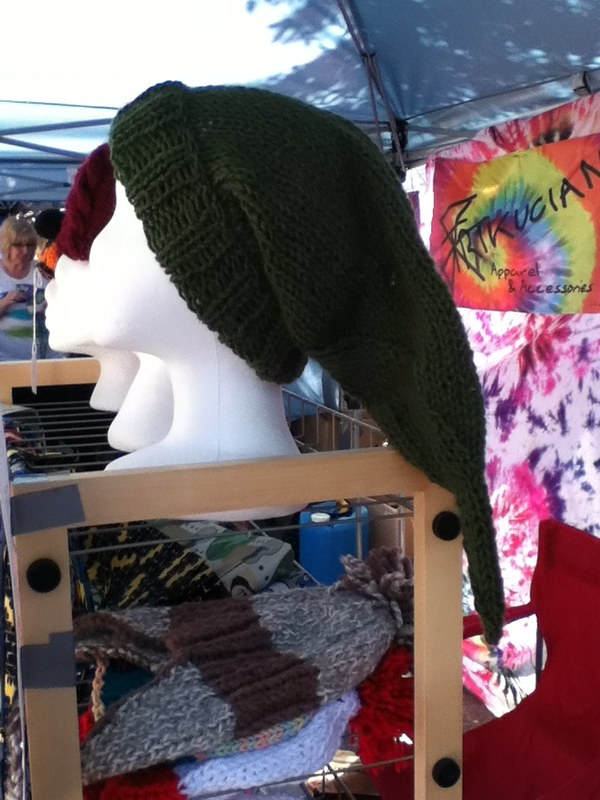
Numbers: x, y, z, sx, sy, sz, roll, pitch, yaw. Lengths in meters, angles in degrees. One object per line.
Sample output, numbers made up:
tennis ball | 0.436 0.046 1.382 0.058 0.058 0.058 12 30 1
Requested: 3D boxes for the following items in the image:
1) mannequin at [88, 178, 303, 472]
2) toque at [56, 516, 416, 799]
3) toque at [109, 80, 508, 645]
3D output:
mannequin | -0.114 -0.122 0.933 0.319 0.390 0.289 5 16 -4
toque | -0.046 0.251 0.695 0.285 0.085 0.174 -3 10 -15
toque | -0.063 -0.087 0.814 0.304 0.422 0.286 -7 35 -28
